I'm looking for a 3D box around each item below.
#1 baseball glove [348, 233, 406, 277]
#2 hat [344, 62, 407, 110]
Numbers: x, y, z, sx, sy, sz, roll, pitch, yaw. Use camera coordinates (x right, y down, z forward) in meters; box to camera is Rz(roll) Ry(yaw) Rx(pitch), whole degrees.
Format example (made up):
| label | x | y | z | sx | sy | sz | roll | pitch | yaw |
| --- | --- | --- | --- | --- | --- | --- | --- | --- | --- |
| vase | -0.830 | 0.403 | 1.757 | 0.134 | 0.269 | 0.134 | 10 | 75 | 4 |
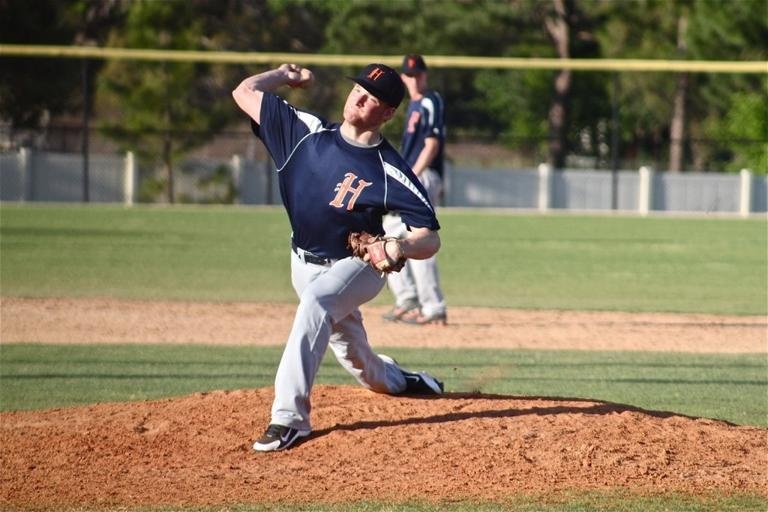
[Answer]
| label | x | y | z | sx | sy | sz | roll | pitch | yaw |
| --- | --- | --- | --- | --- | --- | --- | --- | --- | --- |
| baseball glove | -0.119 | -0.063 | 21.210 | 0.694 | 0.297 | 0.419 | 30 | 35 | 8 |
| hat | -0.049 | -2.195 | 21.501 | 0.650 | 0.373 | 0.495 | 26 | 15 | -49 |
